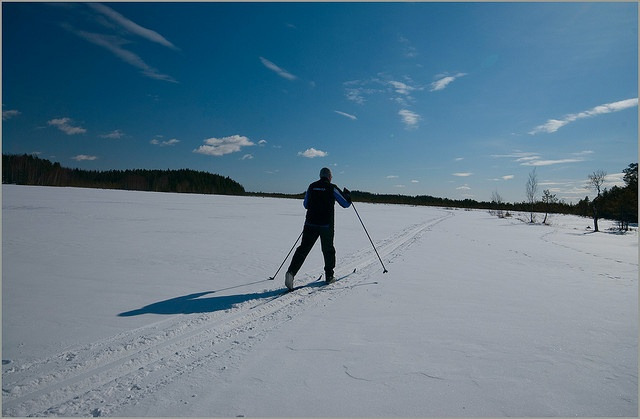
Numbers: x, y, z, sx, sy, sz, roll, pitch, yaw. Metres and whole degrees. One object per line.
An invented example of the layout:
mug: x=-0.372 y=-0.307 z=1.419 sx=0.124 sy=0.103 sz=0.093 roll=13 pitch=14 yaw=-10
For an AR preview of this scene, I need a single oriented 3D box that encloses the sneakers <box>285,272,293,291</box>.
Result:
sneakers: x=-0.677 y=1.568 z=8.306 sx=0.150 sy=0.388 sz=0.167 roll=0 pitch=-3 yaw=-8
